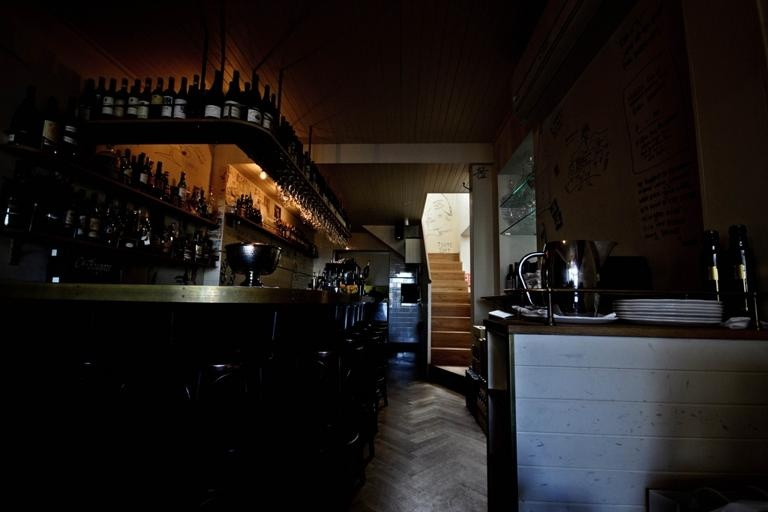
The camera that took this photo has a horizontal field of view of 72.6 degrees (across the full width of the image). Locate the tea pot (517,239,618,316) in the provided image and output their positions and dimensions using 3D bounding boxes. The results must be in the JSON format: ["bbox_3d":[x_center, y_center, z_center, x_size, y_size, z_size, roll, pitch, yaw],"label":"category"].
[{"bbox_3d":[1.039,0.151,3.194,0.581,0.564,0.402,-1,-5,8],"label":"tea pot"}]

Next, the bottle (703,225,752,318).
[{"bbox_3d":[1.865,0.085,2.820,0.217,0.482,0.128,-3,-9,17],"label":"bottle"}]
